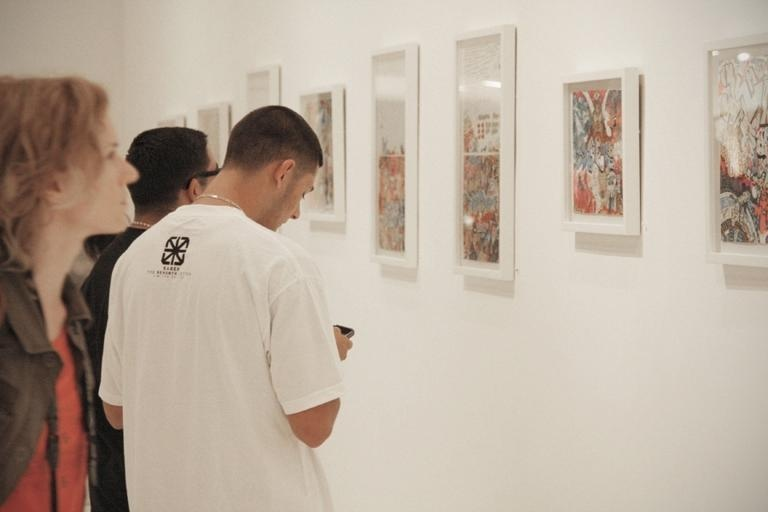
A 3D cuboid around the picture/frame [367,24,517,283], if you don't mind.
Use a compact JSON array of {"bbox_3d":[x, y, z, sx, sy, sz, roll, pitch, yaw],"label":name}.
[{"bbox_3d":[0.287,-0.489,2.928,0.123,1.346,1.076,-3,6,-40],"label":"picture/frame"}]
